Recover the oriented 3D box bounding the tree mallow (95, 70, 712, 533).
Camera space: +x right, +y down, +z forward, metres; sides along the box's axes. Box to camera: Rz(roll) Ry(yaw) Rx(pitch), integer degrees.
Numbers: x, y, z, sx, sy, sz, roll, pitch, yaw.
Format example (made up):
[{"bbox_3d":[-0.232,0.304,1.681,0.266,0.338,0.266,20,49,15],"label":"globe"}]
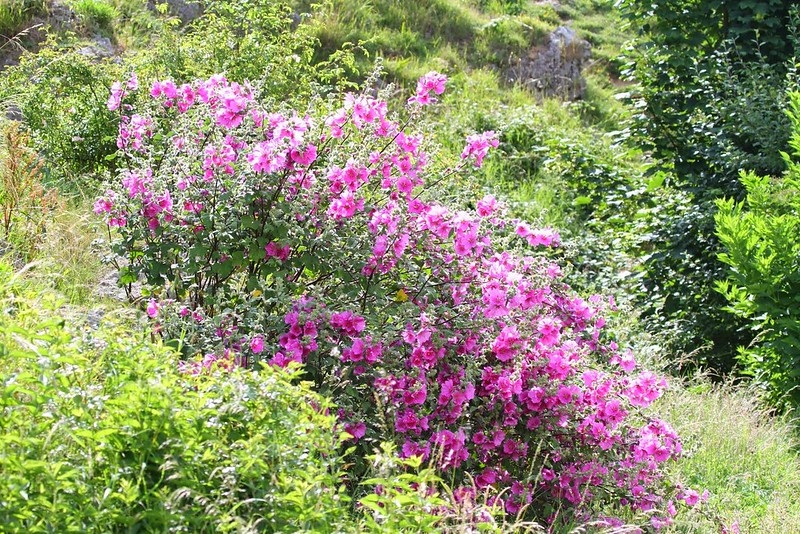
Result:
[{"bbox_3d":[-0.199,0.484,5.953,3.553,1.856,2.787,29,18,13],"label":"tree mallow"}]
